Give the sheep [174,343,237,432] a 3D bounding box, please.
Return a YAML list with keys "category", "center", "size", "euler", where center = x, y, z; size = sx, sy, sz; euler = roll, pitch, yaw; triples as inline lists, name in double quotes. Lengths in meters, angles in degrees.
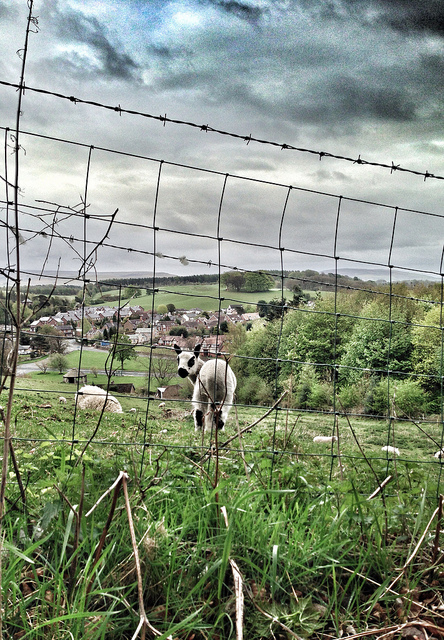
- category: "sheep"
  center: [-0.242, 1.202, 9.925]
  size: [0.619, 1.119, 1.873]
  euler: [-14, -22, 24]
